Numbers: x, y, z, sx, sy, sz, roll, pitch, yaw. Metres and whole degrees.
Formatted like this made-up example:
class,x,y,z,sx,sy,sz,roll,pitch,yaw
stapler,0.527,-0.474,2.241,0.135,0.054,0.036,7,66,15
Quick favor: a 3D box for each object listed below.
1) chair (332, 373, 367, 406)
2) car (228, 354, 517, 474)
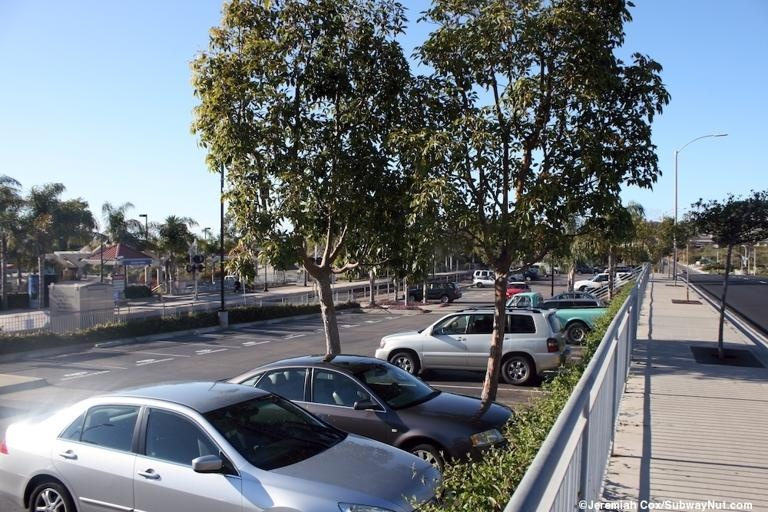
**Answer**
class,x,y,z,sx,sy,sz,roll,pitch,yaw
chair,-0.573,2.486,11.179,0.444,0.580,0.580,-7,21,-44
car,-0.005,2.897,11.497,4.507,1.750,2.182,-2,-1,17
